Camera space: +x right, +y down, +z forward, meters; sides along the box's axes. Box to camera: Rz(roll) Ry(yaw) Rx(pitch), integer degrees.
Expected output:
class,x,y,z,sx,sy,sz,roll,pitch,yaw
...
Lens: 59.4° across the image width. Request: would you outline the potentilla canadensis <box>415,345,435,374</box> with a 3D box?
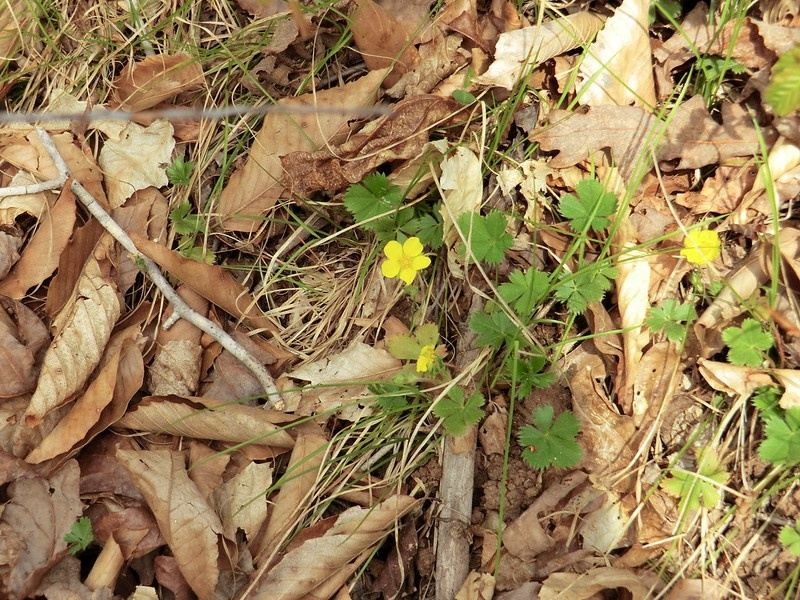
class,x,y,z,sx,sy,sz,roll,pitch,yaw
potentilla canadensis,0.138,0.295,3.547,0.092,0.101,0.141,8,59,4
